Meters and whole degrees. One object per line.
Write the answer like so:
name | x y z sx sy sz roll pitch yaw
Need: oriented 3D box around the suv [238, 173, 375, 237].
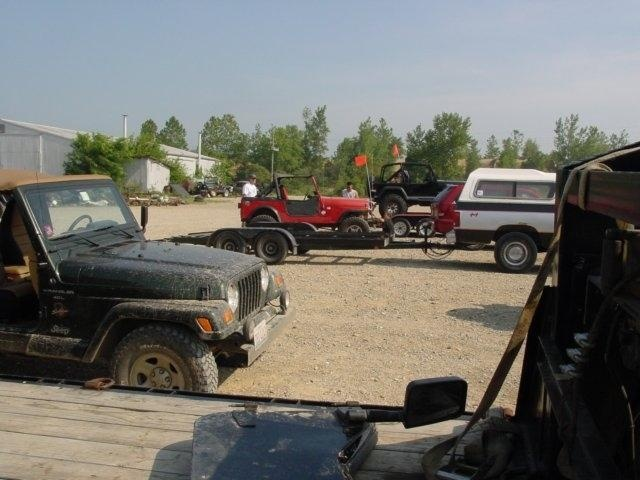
suv | -0.390 -0.977 14.583 3.389 1.438 1.719 0 6 2

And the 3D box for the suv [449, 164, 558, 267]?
suv | 3.984 -0.560 11.627 3.519 1.864 1.938 -3 7 9

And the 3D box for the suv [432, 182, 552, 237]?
suv | 3.745 -0.763 12.650 2.016 0.909 1.073 -4 9 4
